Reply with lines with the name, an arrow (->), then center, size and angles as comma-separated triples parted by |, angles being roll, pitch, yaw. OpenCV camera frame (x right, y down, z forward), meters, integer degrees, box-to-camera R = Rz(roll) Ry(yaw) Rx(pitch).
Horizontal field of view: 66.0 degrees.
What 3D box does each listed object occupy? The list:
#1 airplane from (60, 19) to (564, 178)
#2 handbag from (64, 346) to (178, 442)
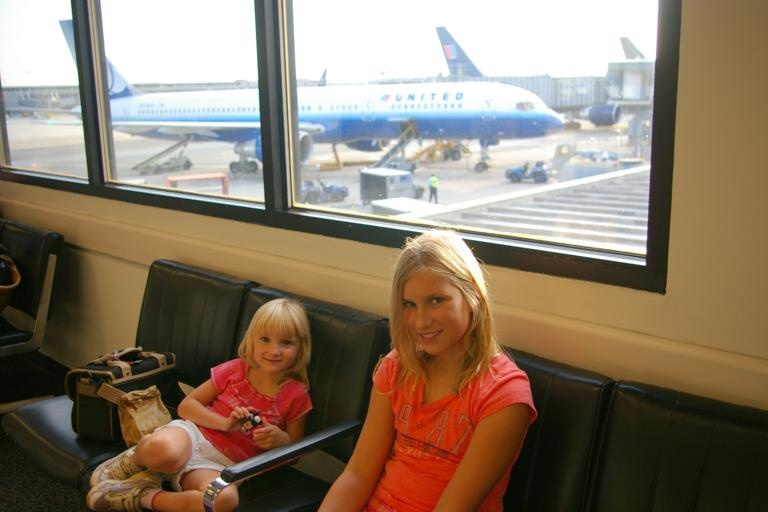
airplane -> 0.057, -2.109, 7.764 | 3.174, 1.094, 2.965 | -3, 36, 5
handbag -> -1.285, 0.668, 2.987 | 0.355, 0.365, 0.507 | -1, 1, 25
